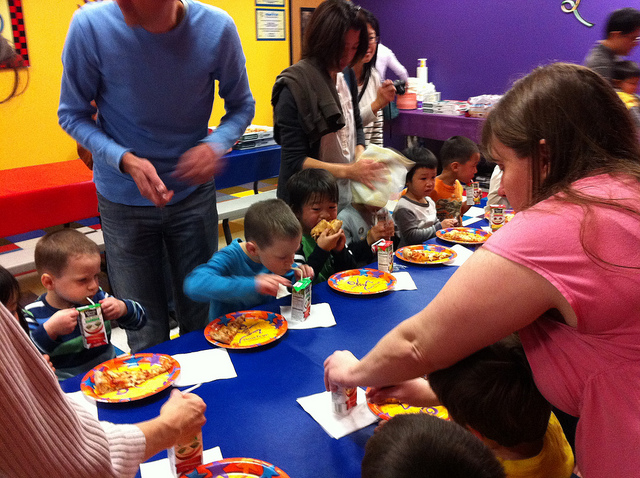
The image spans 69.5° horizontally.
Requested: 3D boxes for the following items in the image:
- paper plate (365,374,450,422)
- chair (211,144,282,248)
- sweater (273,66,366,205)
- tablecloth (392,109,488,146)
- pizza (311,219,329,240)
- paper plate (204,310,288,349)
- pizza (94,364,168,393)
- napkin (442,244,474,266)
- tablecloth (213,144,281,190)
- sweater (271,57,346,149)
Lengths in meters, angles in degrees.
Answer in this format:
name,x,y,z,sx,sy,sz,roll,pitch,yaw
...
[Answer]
name,x,y,z,sx,sy,sz,roll,pitch,yaw
paper plate,0.297,0.566,1.522,0.293,0.040,0.222,7,-15,-26
chair,-0.918,-0.480,4.643,0.475,0.785,1.246,21,29,35
sweater,-0.002,-0.610,2.780,0.442,0.779,0.632,27,47,37
tablecloth,1.424,-1.357,5.534,1.385,0.333,1.337,15,20,39
pizza,0.006,-0.050,2.581,0.032,0.078,0.105,41,43,-12
paper plate,-0.301,0.369,1.898,0.255,0.104,0.292,13,16,31
pizza,-0.651,0.467,1.613,0.242,0.048,0.077,-4,29,-36
napkin,0.816,0.097,2.673,0.173,0.020,0.184,19,33,21
tablecloth,-0.699,-0.692,4.520,0.643,0.178,0.735,1,24,33
sweater,-0.059,-0.802,2.755,0.304,0.480,0.422,-24,40,-35
